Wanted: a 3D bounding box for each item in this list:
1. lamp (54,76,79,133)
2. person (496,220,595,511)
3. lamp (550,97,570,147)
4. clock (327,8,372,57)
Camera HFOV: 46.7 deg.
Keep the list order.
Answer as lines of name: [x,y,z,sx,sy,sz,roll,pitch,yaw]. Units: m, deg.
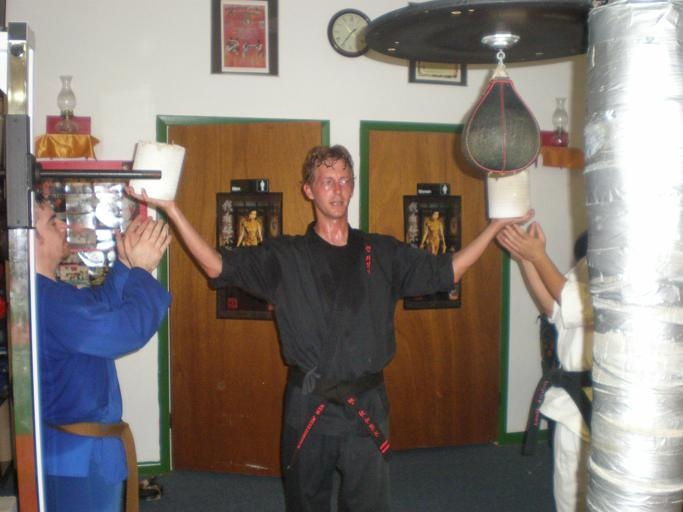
lamp: [-1.338,-0.728,3.814,0.101,0.264,0.179,-5,16,-18]
person: [0.851,0.413,3.035,0.314,1.070,0.467,-12,19,-38]
lamp: [1.204,-0.734,4.353,0.088,0.264,0.144,4,16,13]
clock: [0.036,-1.152,4.108,0.225,0.243,0.076,-2,15,-6]
